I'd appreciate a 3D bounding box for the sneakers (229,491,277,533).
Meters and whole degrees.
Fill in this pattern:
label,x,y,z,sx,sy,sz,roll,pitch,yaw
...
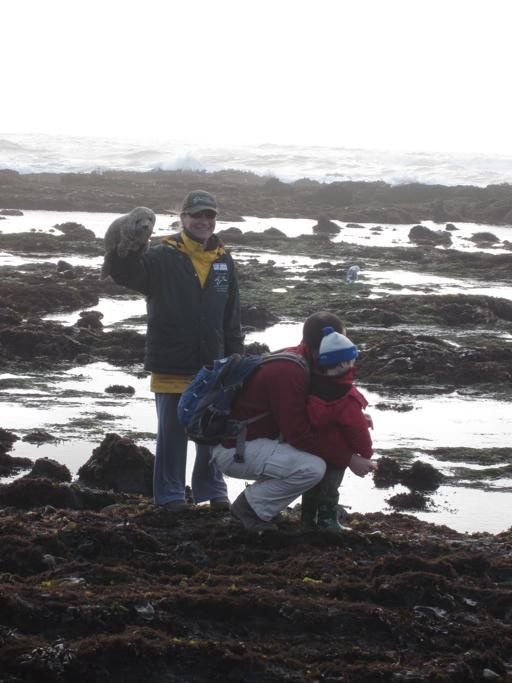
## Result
label,x,y,z,sx,sy,sz,roll,pitch,yaw
sneakers,0.021,1.085,8.114,0.291,0.192,0.205,43,6,2

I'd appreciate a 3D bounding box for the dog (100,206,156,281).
label,x,y,z,sx,sy,sz,roll,pitch,yaw
dog,-0.785,-0.601,7.920,0.273,0.459,0.397,-1,11,-37

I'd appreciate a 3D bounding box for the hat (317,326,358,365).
label,x,y,z,sx,sy,sz,roll,pitch,yaw
hat,0.502,0.048,7.522,0.279,0.219,0.189,-5,19,7

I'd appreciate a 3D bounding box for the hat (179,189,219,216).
label,x,y,z,sx,sy,sz,roll,pitch,yaw
hat,-0.354,-0.884,8.306,0.172,0.115,0.223,3,-10,-12

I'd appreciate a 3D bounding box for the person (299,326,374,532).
label,x,y,z,sx,sy,sz,roll,pitch,yaw
person,0.511,0.555,7.806,0.486,1.309,0.366,-2,12,-39

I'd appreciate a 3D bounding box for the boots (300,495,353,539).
label,x,y,z,sx,sy,sz,roll,pitch,yaw
boots,0.426,1.081,7.995,0.425,0.326,0.159,0,10,-5
